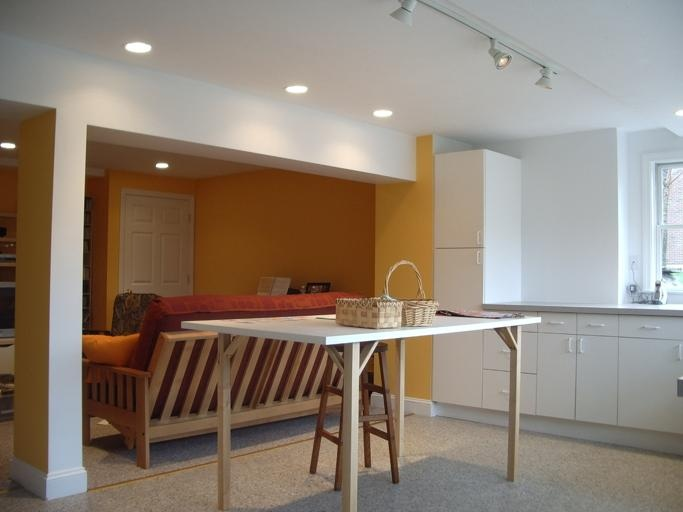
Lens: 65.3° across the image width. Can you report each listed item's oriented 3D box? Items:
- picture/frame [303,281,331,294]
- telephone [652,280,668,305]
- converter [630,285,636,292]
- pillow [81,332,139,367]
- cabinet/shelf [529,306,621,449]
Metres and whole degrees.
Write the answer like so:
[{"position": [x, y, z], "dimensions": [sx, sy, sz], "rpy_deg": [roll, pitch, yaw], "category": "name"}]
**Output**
[{"position": [-0.316, 0.406, 6.907], "dimensions": [0.230, 0.223, 0.152], "rpy_deg": [1, -1, 11], "category": "picture/frame"}, {"position": [3.037, 0.339, 5.044], "dimensions": [0.167, 0.208, 0.081], "rpy_deg": [1, 1, -31], "category": "telephone"}, {"position": [2.852, 0.314, 5.198], "dimensions": [0.034, 0.066, 0.064], "rpy_deg": [4, -4, -37], "category": "converter"}, {"position": [-1.769, 0.713, 4.058], "dimensions": [0.572, 0.246, 0.121], "rpy_deg": [1, 1, 21], "category": "pillow"}, {"position": [2.068, 1.046, 5.014], "dimensions": [0.850, 1.252, 0.813], "rpy_deg": [-2, -7, 29], "category": "cabinet/shelf"}]
